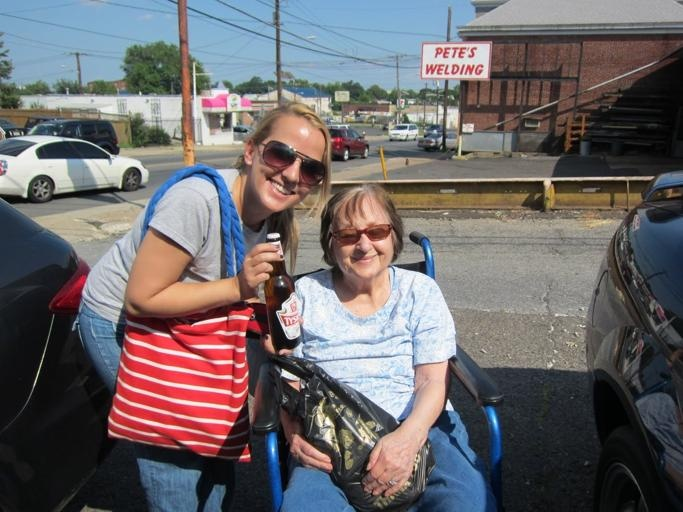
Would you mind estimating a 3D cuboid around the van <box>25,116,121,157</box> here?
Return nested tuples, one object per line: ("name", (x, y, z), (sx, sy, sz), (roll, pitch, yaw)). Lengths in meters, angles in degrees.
("van", (-11.493, -5.326, 21.068), (2.188, 1.779, 4.152), (7, 8, 23))

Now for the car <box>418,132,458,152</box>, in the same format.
("car", (6.888, -8.275, 34.620), (2.901, 1.383, 1.679), (-4, 8, -37))

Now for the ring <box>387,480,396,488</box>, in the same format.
("ring", (0.205, 0.954, 2.065), (0.022, 0.034, 0.032), (4, -14, 20))

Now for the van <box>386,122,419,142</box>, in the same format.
("van", (6.376, -13.095, 51.806), (1.860, 1.550, 3.500), (3, 8, 28))

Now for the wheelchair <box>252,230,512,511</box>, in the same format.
("wheelchair", (0.238, 0.615, 3.002), (1.088, 1.388, 1.766), (-5, -12, 0))

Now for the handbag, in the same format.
("handbag", (-0.631, 0.448, 2.016), (0.570, 0.770, 0.193), (10, 19, -9))
